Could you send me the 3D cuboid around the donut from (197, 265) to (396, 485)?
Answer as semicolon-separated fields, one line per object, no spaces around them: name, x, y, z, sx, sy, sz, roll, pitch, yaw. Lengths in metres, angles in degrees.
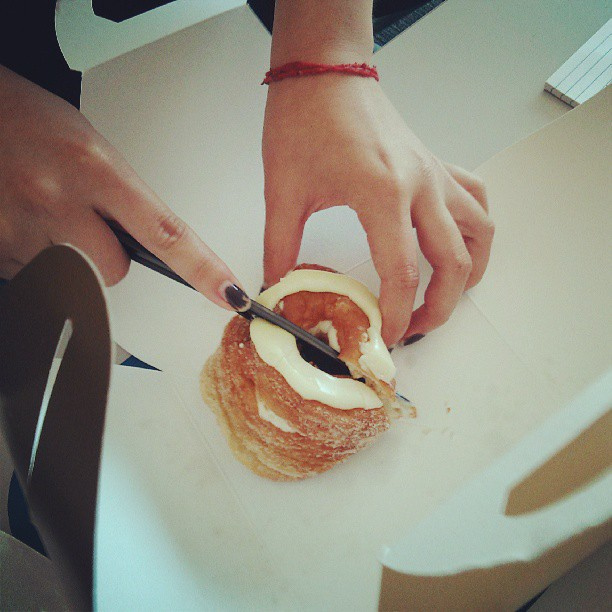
donut;-0.007;0.107;1.531;0.417;0.226;0.605;-11;43;-25

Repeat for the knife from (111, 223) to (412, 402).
knife;-0.103;0.032;1.401;0.517;0.050;0.032;46;53;-19
